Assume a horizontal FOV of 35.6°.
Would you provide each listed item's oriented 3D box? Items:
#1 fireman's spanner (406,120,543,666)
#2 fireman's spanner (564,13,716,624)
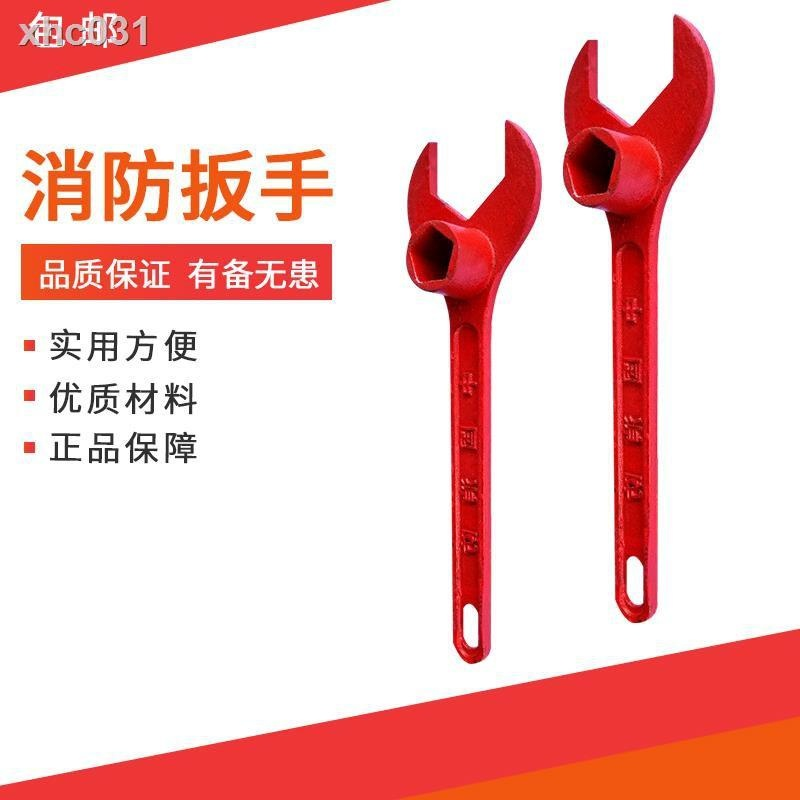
[{"bbox_3d":[0.115,-0.010,2.590,0.205,1.124,0.321,-4,5,-43],"label":"fireman's spanner"},{"bbox_3d":[0.458,-0.151,2.411,0.253,1.184,0.177,-3,4,-29],"label":"fireman's spanner"}]
